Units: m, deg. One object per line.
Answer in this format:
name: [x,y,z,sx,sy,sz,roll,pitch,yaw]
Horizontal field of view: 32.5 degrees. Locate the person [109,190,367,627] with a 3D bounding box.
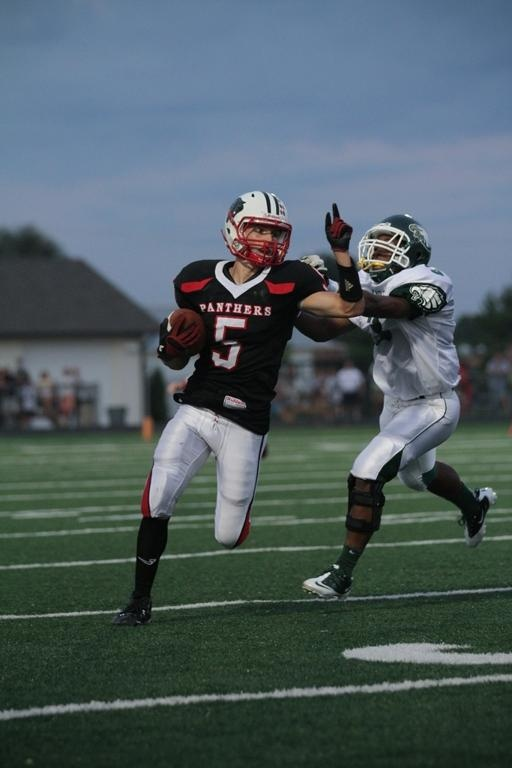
person: [-0.093,0.103,3.476,0.986,1.479,0.524,3,1,12]

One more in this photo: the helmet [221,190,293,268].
helmet: [0.014,-0.624,3.522,0.212,0.262,0.265,2,1,-26]

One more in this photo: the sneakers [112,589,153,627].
sneakers: [-0.497,0.915,3.512,0.095,0.062,0.160,0,-7,22]

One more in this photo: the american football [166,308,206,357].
american football: [-0.273,-0.210,3.430,0.152,0.154,0.161,2,1,-5]

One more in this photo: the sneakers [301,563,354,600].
sneakers: [0.322,0.840,3.730,0.235,0.122,0.104,11,35,-46]
